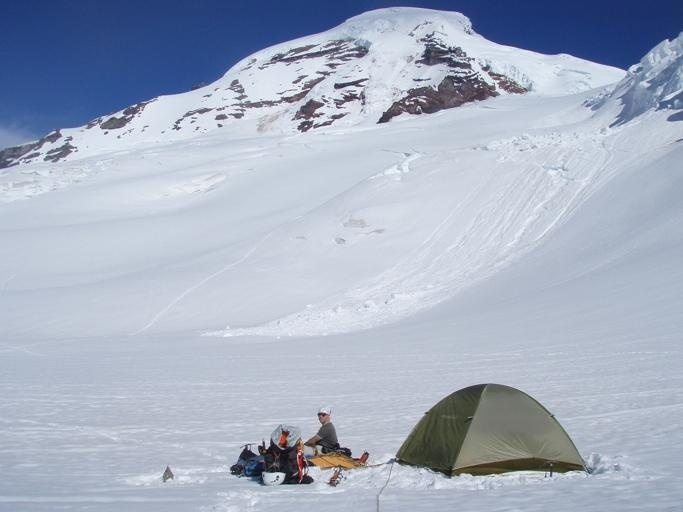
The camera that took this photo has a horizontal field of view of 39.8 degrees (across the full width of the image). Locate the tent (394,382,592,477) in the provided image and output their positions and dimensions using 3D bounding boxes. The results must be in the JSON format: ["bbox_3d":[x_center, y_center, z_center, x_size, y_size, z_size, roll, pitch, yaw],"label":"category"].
[{"bbox_3d":[5.982,7.003,38.077,6.532,3.502,0.956,-2,7,0],"label":"tent"}]
